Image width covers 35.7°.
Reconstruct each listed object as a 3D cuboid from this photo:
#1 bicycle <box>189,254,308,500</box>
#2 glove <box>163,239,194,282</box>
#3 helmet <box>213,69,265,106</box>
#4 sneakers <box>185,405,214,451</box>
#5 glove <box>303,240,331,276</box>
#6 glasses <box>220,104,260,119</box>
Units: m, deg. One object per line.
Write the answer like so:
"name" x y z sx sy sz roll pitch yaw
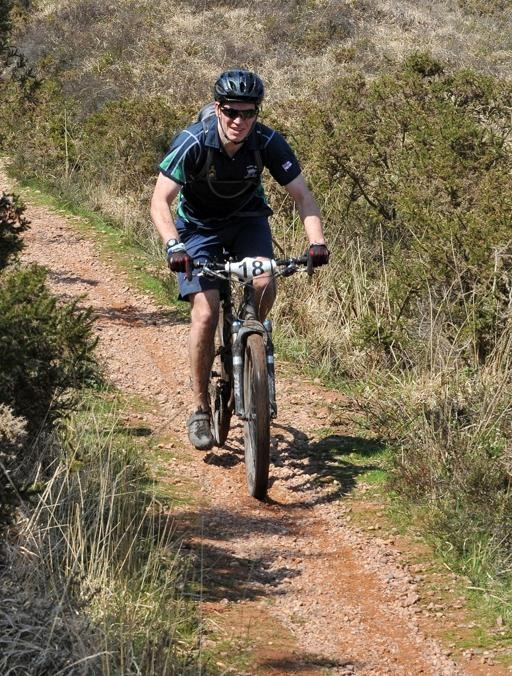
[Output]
"bicycle" -0.094 0.195 4.496 0.635 1.423 0.916 5 15 -7
"glove" -0.396 -0.399 4.031 0.081 0.111 0.289 -16 18 -4
"helmet" -0.090 -1.315 4.146 0.248 0.186 0.319 5 14 -4
"sneakers" -0.336 0.553 4.727 0.119 0.123 0.287 -2 16 -14
"glove" 0.327 -0.422 4.341 0.117 0.183 0.277 7 14 4
"glasses" -0.090 -1.156 4.073 0.203 0.069 0.138 5 14 -5
